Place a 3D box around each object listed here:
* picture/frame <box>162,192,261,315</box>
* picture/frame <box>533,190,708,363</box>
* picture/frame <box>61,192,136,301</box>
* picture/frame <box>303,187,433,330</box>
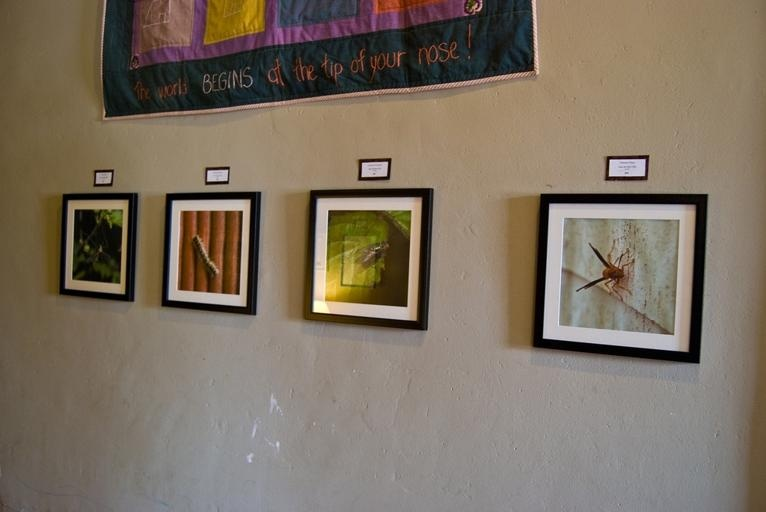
[{"bbox_3d":[-0.992,-0.015,4.358,0.587,0.790,0.051,3,2,25],"label":"picture/frame"},{"bbox_3d":[1.245,0.100,3.739,0.710,0.867,0.033,3,0,14],"label":"picture/frame"},{"bbox_3d":[-1.771,-0.059,4.625,0.546,0.762,0.051,4,3,26],"label":"picture/frame"},{"bbox_3d":[-0.097,0.012,4.086,0.662,0.845,0.049,2,-26,0],"label":"picture/frame"}]
